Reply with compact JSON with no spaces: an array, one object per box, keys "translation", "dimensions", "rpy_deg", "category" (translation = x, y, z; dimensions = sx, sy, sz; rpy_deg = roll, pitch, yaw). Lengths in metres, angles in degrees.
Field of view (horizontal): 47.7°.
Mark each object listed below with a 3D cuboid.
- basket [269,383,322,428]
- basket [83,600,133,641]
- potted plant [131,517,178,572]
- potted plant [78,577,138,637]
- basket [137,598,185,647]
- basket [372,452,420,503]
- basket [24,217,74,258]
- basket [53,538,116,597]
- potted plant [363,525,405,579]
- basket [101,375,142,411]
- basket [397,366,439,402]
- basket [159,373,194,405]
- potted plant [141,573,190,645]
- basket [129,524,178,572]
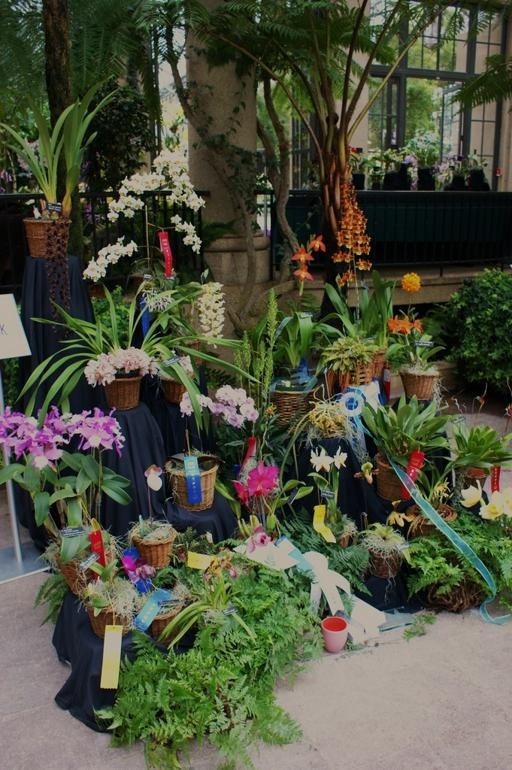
[{"translation":[0.175,0.076,2.529],"dimensions":[0.179,0.141,0.183],"rpy_deg":[4,7,41],"category":"basket"},{"translation":[-0.414,0.651,1.618],"dimensions":[0.115,0.079,0.112],"rpy_deg":[-2,8,-36],"category":"basket"},{"translation":[-0.318,0.499,1.882],"dimensions":[0.133,0.166,0.158],"rpy_deg":[-2,5,3],"category":"potted plant"},{"translation":[-0.403,0.608,1.617],"dimensions":[0.155,0.132,0.161],"rpy_deg":[2,17,-1],"category":"potted plant"},{"translation":[-0.261,0.724,1.713],"dimensions":[0.112,0.128,0.082],"rpy_deg":[-5,12,-33],"category":"basket"},{"translation":[0.571,0.369,2.385],"dimensions":[0.147,0.177,0.174],"rpy_deg":[0,19,6],"category":"basket"},{"translation":[-0.784,-0.578,2.230],"dimensions":[0.161,0.123,0.156],"rpy_deg":[-14,25,-36],"category":"basket"},{"translation":[-0.513,0.541,1.766],"dimensions":[0.179,0.145,0.192],"rpy_deg":[0,4,17],"category":"basket"},{"translation":[0.492,0.629,2.228],"dimensions":[0.168,0.204,0.191],"rpy_deg":[3,10,13],"category":"potted plant"},{"translation":[-0.465,0.028,2.024],"dimensions":[0.113,0.122,0.130],"rpy_deg":[-1,10,-12],"category":"basket"},{"translation":[0.783,-0.013,2.799],"dimensions":[0.176,0.134,0.181],"rpy_deg":[0,10,9],"category":"basket"},{"translation":[-0.327,0.016,2.282],"dimensions":[0.118,0.096,0.120],"rpy_deg":[1,7,-2],"category":"basket"},{"translation":[-0.281,0.672,1.750],"dimensions":[0.127,0.107,0.134],"rpy_deg":[-2,11,-3],"category":"potted plant"},{"translation":[-0.324,0.527,1.872],"dimensions":[0.123,0.096,0.127],"rpy_deg":[-4,16,13],"category":"basket"}]
